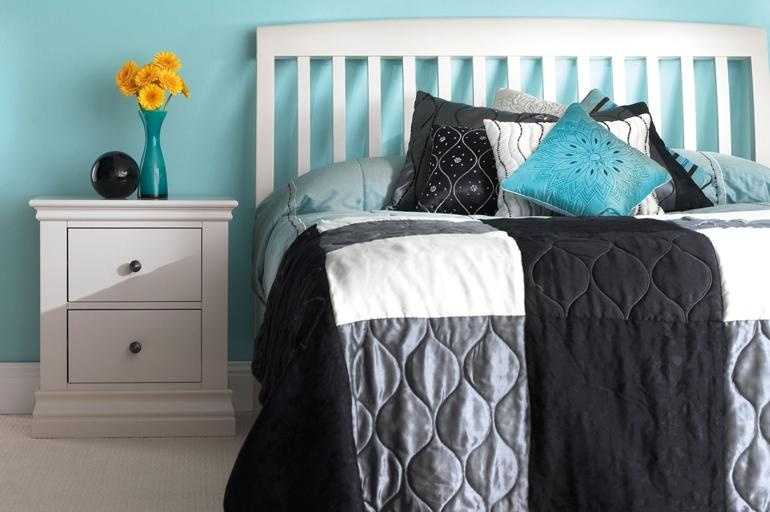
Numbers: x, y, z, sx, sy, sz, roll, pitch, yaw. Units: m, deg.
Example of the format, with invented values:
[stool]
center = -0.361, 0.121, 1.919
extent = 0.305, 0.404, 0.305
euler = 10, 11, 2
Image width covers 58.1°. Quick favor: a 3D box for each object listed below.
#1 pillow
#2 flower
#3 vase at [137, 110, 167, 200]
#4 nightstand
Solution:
[pillow]
center = 0.554, -0.411, 2.751
extent = 1.055, 0.492, 0.412
euler = 2, 6, 0
[flower]
center = -0.944, -0.714, 2.829
extent = 0.274, 0.245, 0.123
euler = 0, 7, -20
[vase]
center = -0.951, -0.418, 2.842
extent = 0.107, 0.360, 0.159
euler = 0, 7, -20
[nightstand]
center = -0.980, 0.241, 2.713
extent = 0.935, 1.095, 0.559
euler = 0, 1, -7
